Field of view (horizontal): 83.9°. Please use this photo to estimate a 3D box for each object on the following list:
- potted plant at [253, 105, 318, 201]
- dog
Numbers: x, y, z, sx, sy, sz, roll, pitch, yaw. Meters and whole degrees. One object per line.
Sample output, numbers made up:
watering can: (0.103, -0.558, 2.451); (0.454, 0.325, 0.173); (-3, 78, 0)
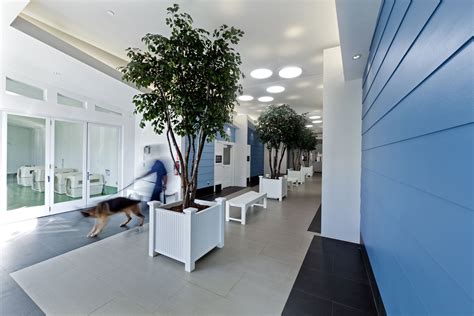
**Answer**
potted plant: (1.852, -0.219, 10.258); (2.667, 3.954, 2.491); (7, 10, 41)
dog: (-2.469, 1.151, 5.256); (0.333, 0.699, 1.209); (-2, -2, 43)
